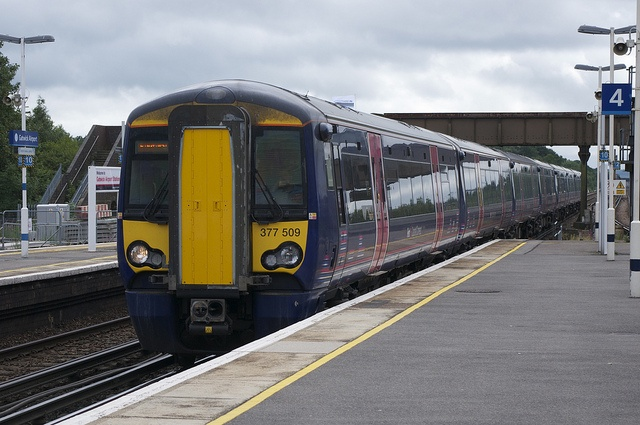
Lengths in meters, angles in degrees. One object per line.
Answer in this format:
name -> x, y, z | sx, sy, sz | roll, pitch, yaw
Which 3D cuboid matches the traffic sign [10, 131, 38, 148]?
traffic sign -> -11.915, -3.009, 25.304 | 0.585, 0.689, 1.291 | 0, 2, 17
